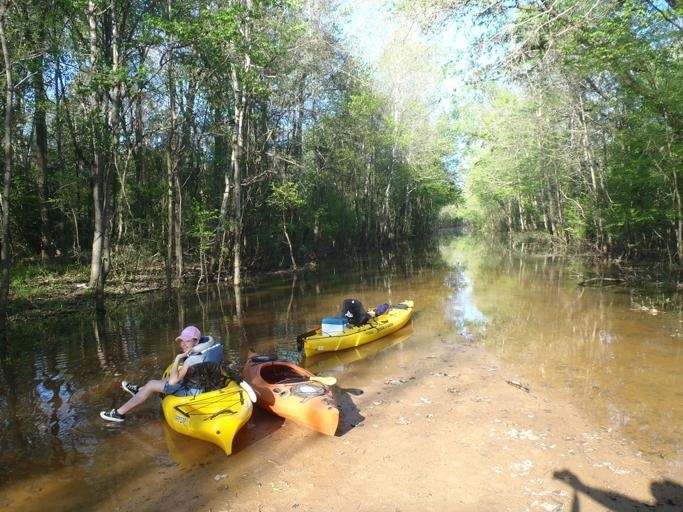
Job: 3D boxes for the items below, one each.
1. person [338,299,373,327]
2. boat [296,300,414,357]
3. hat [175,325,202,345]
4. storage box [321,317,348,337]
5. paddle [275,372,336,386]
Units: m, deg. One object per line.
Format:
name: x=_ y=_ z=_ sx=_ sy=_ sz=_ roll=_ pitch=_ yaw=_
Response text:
person: x=0.413 y=1.820 z=18.465 sx=0.618 sy=0.467 sz=0.986 roll=-4 pitch=13 yaw=1
boat: x=0.557 y=2.418 z=18.234 sx=3.832 sy=0.727 sz=1.486 roll=-12 pitch=19 yaw=-40
hat: x=-3.906 y=2.055 z=14.551 sx=0.446 sy=0.356 sz=0.608 roll=-9 pitch=-13 yaw=31
storage box: x=-0.232 y=2.223 z=17.631 sx=0.841 sy=0.495 sz=0.559 roll=-3 pitch=6 yaw=-3
paddle: x=-0.812 y=3.283 z=14.838 sx=1.297 sy=0.301 sz=0.494 roll=3 pitch=16 yaw=-3
